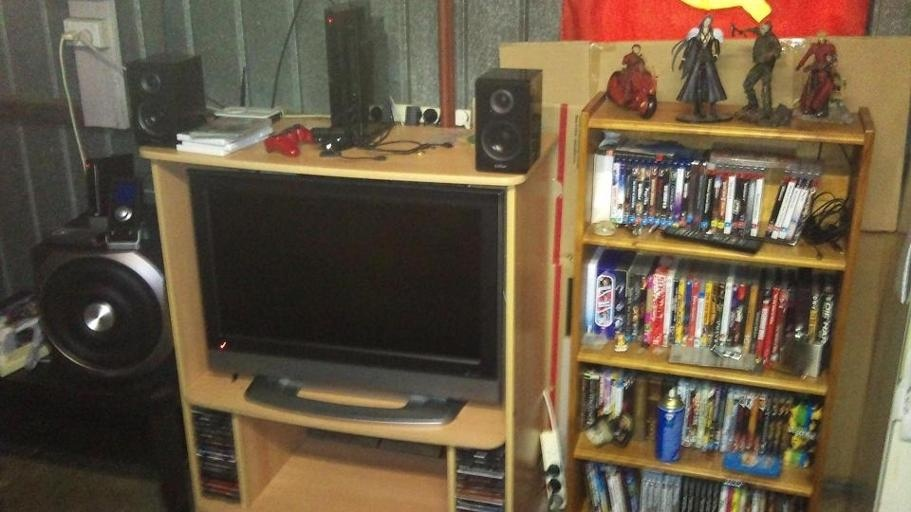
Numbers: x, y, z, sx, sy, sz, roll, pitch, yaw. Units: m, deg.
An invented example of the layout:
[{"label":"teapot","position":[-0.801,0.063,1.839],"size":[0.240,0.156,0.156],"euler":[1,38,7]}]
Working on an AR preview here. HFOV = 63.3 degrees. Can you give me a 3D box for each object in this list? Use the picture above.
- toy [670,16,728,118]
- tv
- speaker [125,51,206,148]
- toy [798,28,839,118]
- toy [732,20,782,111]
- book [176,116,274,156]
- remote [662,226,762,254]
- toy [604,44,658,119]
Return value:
[{"label":"toy","position":[0.912,-0.706,2.760],"size":[0.199,0.370,0.153],"euler":[4,18,13]},{"label":"tv","position":[-0.400,0.136,2.916],"size":[1.254,0.732,0.112],"euler":[4,21,8]},{"label":"speaker","position":[-1.158,-0.619,2.933],"size":[0.261,0.354,0.176],"euler":[1,18,1]},{"label":"toy","position":[1.359,-0.681,2.786],"size":[0.151,0.294,0.227],"euler":[8,19,23]},{"label":"toy","position":[1.127,-0.719,2.802],"size":[0.181,0.345,0.247],"euler":[6,18,18]},{"label":"book","position":[-0.902,-0.485,2.943],"size":[0.240,0.053,0.212],"euler":[0,22,13]},{"label":"remote","position":[0.981,-0.070,2.835],"size":[0.262,0.023,0.141],"euler":[12,21,30]},{"label":"toy","position":[0.691,-0.661,2.839],"size":[0.106,0.243,0.212],"euler":[-10,20,-28]}]
